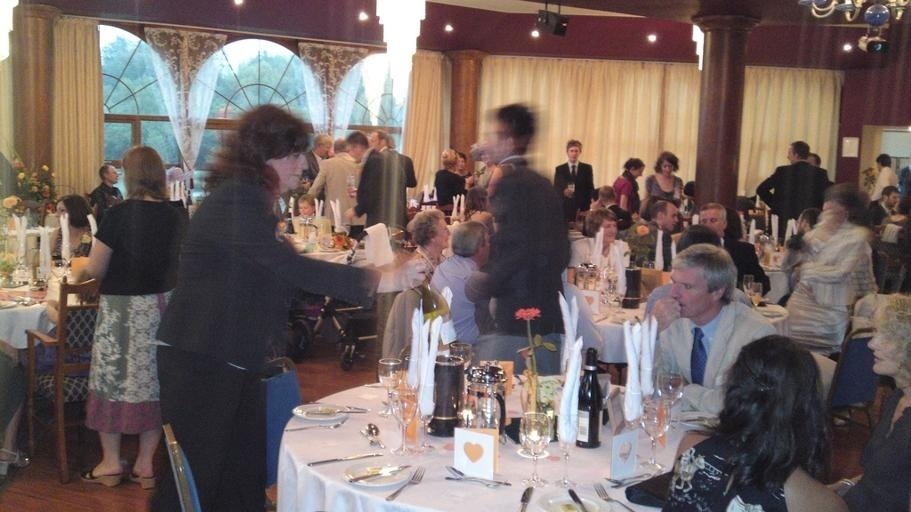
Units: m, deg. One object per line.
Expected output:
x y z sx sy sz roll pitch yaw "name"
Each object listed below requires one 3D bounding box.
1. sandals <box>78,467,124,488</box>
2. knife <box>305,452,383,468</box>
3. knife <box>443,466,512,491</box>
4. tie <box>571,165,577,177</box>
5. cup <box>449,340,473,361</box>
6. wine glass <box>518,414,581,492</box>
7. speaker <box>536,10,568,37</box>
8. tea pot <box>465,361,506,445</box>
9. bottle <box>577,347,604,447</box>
-2.949 1.841 5.986 0.281 0.093 0.154 9 -2 8 "sandals"
-0.696 1.282 4.469 0.372 0.020 0.047 -3 26 -15 "knife"
0.136 1.355 4.369 0.390 0.093 0.065 1 5 7 "knife"
1.842 -1.361 11.441 0.124 0.153 0.162 -7 -13 2 "tie"
0.029 0.637 4.795 0.142 0.102 0.135 2 -1 0 "cup"
0.557 1.161 4.424 0.329 0.464 0.300 1 5 4 "wine glass"
1.305 -3.194 10.031 0.432 0.408 0.601 5 9 22 "speaker"
0.186 0.952 4.596 0.262 0.449 0.498 1 4 3 "tea pot"
0.861 0.909 4.582 0.218 0.651 0.096 -3 6 -32 "bottle"
